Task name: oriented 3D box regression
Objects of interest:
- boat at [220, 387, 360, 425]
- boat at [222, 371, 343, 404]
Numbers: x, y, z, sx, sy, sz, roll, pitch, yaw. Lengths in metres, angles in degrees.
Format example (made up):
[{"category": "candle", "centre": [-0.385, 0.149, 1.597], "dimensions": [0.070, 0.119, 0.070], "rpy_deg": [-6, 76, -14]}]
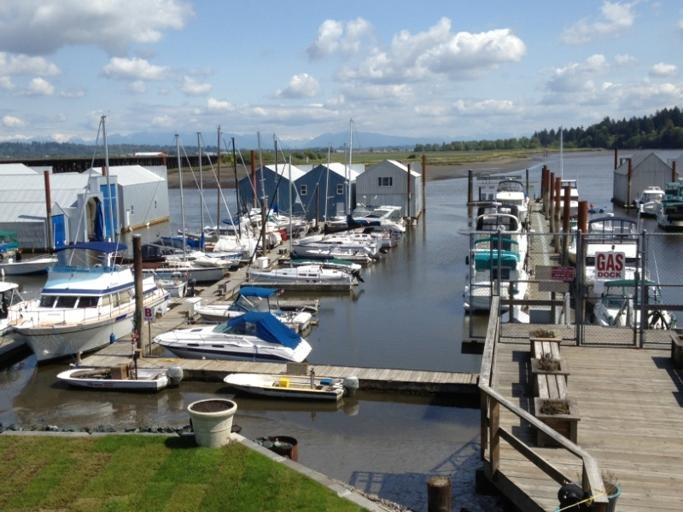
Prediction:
[{"category": "boat", "centre": [-1.403, 4.083, 20.419], "dimensions": [3.837, 0.376, 1.465], "rpy_deg": [4, 12, 9]}, {"category": "boat", "centre": [-1.520, 3.634, 20.963], "dimensions": [3.498, 0.868, 1.173], "rpy_deg": [2, 2, 8]}]
